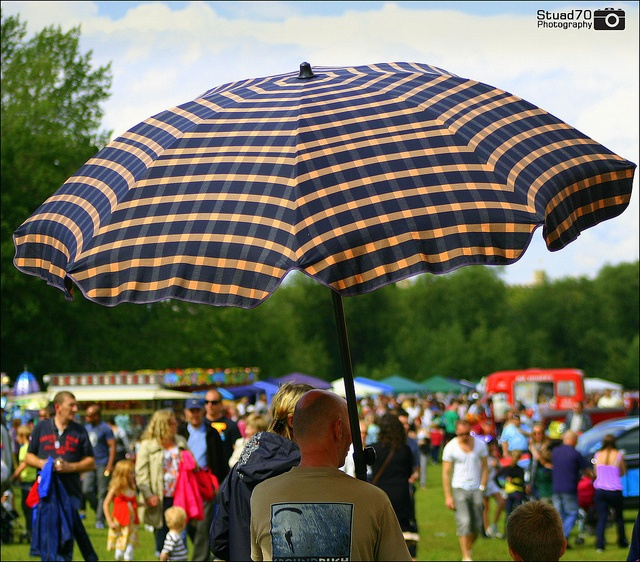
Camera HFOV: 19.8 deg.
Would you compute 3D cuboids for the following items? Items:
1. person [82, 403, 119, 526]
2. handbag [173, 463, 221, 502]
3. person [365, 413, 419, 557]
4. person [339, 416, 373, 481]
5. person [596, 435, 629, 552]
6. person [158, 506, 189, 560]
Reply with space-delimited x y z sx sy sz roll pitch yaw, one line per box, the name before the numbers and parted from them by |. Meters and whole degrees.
person | -5.128 4.328 43.296 0.736 3.010 0.771 -2 1 45
handbag | -2.551 4.403 39.621 0.711 0.710 0.593 -9 3 -30
person | 1.573 4.460 39.956 1.058 3.056 1.205 -1 -2 -2
person | 0.865 3.847 41.874 1.243 0.361 1.250 -23 -36 35
person | 6.643 4.849 41.721 0.770 2.422 0.900 -3 0 8
person | -3.153 5.445 39.240 0.594 1.159 0.363 -1 -8 -7
